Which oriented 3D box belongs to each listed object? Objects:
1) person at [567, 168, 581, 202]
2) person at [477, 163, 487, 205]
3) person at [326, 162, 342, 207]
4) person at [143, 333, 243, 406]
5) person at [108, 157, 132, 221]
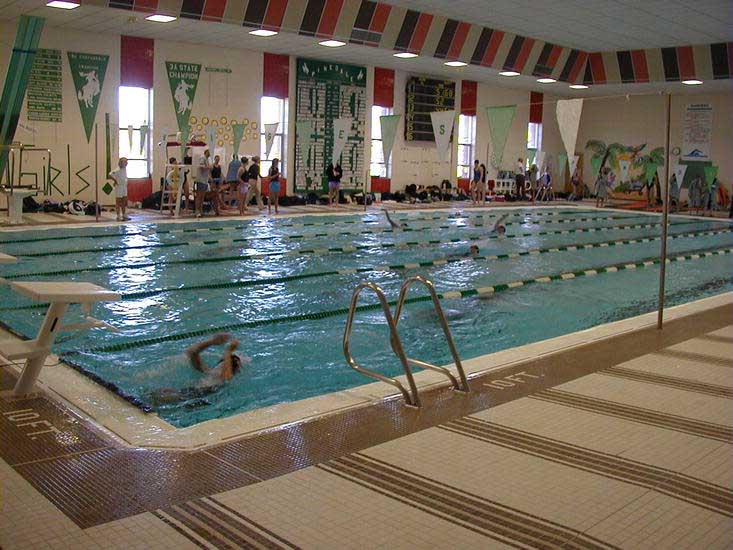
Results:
[{"bbox_3d":[10.574,-4.538,25.081,0.545,1.443,1.960,7,12,22],"label":"person"},{"bbox_3d":[4.469,-3.475,18.983,0.242,1.458,0.460,7,11,22],"label":"person"},{"bbox_3d":[-1.099,-3.116,16.933,0.418,1.419,1.635,1,11,-5],"label":"person"},{"bbox_3d":[-1.383,0.742,4.101,0.523,0.414,1.242,-1,2,25],"label":"person"},{"bbox_3d":[-6.127,-2.173,12.300,0.327,1.462,1.848,-3,13,-26],"label":"person"}]
